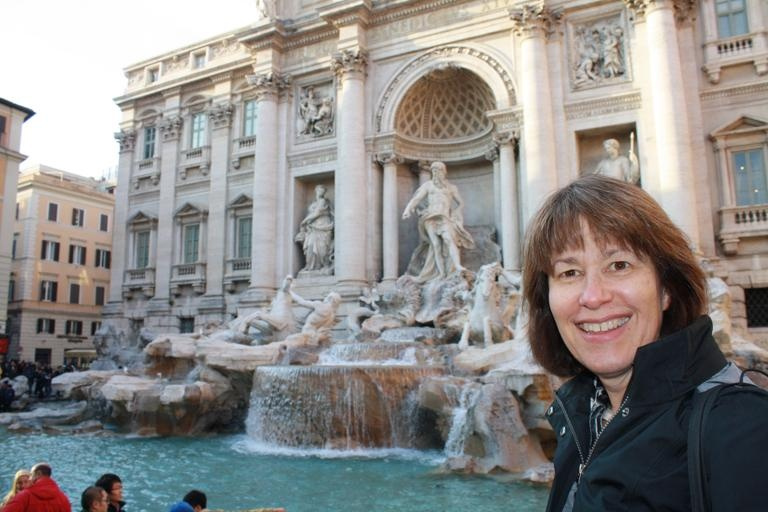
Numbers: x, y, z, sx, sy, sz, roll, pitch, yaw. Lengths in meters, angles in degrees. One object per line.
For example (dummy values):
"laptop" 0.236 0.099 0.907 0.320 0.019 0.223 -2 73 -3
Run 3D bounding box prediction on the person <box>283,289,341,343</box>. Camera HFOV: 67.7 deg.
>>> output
"person" -1.770 1.734 15.913 1.119 1.362 1.001 -2 -6 -5

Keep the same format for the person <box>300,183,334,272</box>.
"person" -2.502 -1.054 21.637 1.354 3.230 0.822 -2 -6 1
